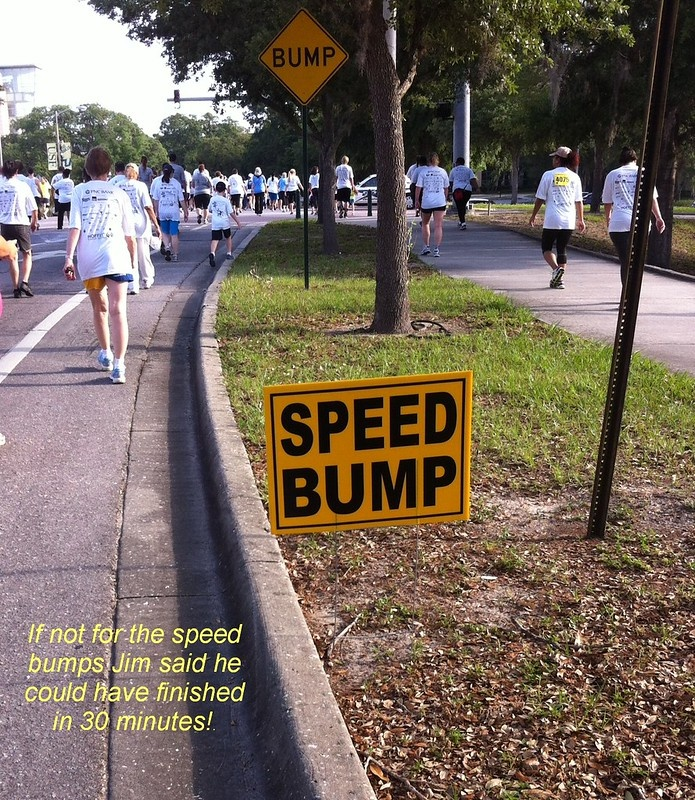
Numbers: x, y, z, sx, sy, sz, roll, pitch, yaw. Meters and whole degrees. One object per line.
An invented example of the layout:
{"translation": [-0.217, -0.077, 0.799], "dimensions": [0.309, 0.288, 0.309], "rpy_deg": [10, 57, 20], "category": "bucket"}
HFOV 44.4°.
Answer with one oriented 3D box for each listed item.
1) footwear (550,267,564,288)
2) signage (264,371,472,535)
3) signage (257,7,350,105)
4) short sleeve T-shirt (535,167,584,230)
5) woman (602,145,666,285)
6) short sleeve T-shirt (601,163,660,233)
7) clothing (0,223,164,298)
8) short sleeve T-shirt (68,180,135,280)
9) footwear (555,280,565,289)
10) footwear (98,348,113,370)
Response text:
{"translation": [3.016, -1.744, 12.355], "dimensions": [0.111, 0.379, 0.187], "rpy_deg": [-6, 44, -9], "category": "footwear"}
{"translation": [0.084, 0.203, 3.213], "dimensions": [0.456, 0.491, 0.023], "rpy_deg": [-5, 12, -12], "category": "signage"}
{"translation": [-0.528, -4.093, 10.181], "dimensions": [0.956, 1.018, 0.425], "rpy_deg": [-3, 10, -5], "category": "signage"}
{"translation": [2.957, -2.815, 11.953], "dimensions": [0.591, 0.869, 0.554], "rpy_deg": [2, 11, 21], "category": "short sleeve T-shirt"}
{"translation": [3.631, -2.127, 10.777], "dimensions": [0.601, 2.252, 0.522], "rpy_deg": [-2, -15, 18], "category": "woman"}
{"translation": [3.590, -2.448, 10.844], "dimensions": [0.640, 1.172, 0.432], "rpy_deg": [-4, -30, 27], "category": "short sleeve T-shirt"}
{"translation": [-3.243, -1.675, 10.505], "dimensions": [1.151, 0.601, 2.123], "rpy_deg": [4, 21, 0], "category": "clothing"}
{"translation": [-2.031, -1.417, 7.117], "dimensions": [0.514, 0.817, 0.500], "rpy_deg": [-5, 11, -20], "category": "short sleeve T-shirt"}
{"translation": [3.103, -1.666, 12.419], "dimensions": [0.069, 0.137, 0.254], "rpy_deg": [-1, -3, 7], "category": "footwear"}
{"translation": [-2.182, -0.395, 7.749], "dimensions": [0.083, 0.155, 0.293], "rpy_deg": [-2, 22, -10], "category": "footwear"}
